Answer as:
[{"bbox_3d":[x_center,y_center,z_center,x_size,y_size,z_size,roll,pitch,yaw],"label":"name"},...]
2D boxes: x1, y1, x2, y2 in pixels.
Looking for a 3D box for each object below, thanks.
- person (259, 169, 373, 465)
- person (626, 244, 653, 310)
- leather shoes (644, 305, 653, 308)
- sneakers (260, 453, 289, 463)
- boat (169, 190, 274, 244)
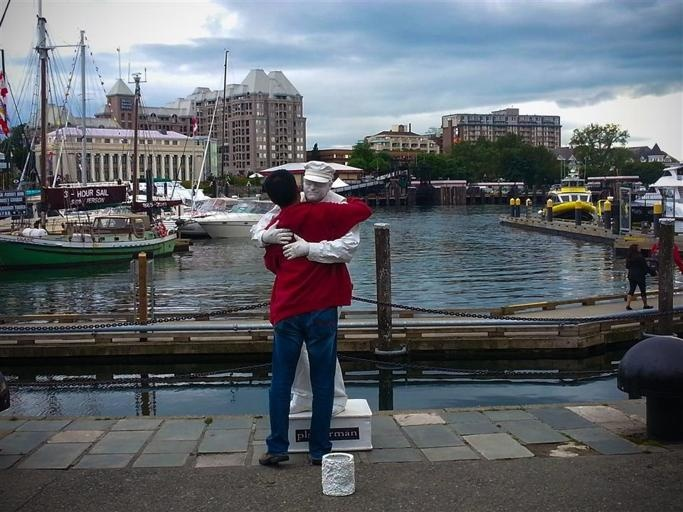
[{"bbox_3d":[-0.339,0.623,8.855,1.044,2.999,0.564,-2,5,-1],"label":"person"},{"bbox_3d":[6.079,0.360,17.838,0.495,1.128,2.171,0,5,18],"label":"person"},{"bbox_3d":[5.936,0.994,16.889,0.227,0.075,0.073,-2,3,-32],"label":"leather shoes"},{"bbox_3d":[-0.678,2.072,8.904,0.263,0.103,0.110,2,3,1],"label":"sneakers"},{"bbox_3d":[-5.551,-2.166,51.145,6.999,2.048,3.909,-9,13,-38],"label":"boat"}]
